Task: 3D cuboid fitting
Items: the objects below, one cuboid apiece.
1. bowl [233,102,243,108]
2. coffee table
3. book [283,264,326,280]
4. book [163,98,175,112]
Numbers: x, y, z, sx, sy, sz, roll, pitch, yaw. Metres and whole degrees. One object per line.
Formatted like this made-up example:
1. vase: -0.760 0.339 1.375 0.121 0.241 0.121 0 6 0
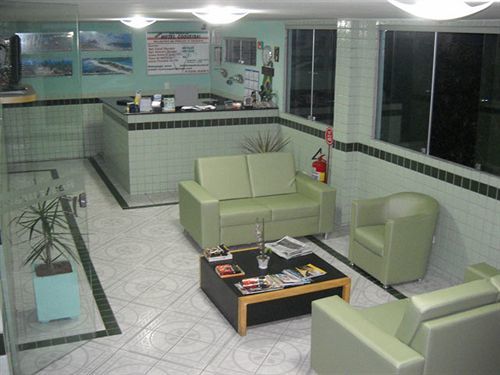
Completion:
1. bowl: -0.277 -1.816 8.209 0.228 0.134 0.148 -5 14 -25
2. coffee table: 0.073 1.102 4.505 1.216 0.343 0.966 -7 21 -25
3. book: 0.620 0.976 4.385 0.229 0.029 0.201 -7 16 -32
4. book: -1.667 -1.673 7.711 0.258 0.258 0.365 -8 20 -11
